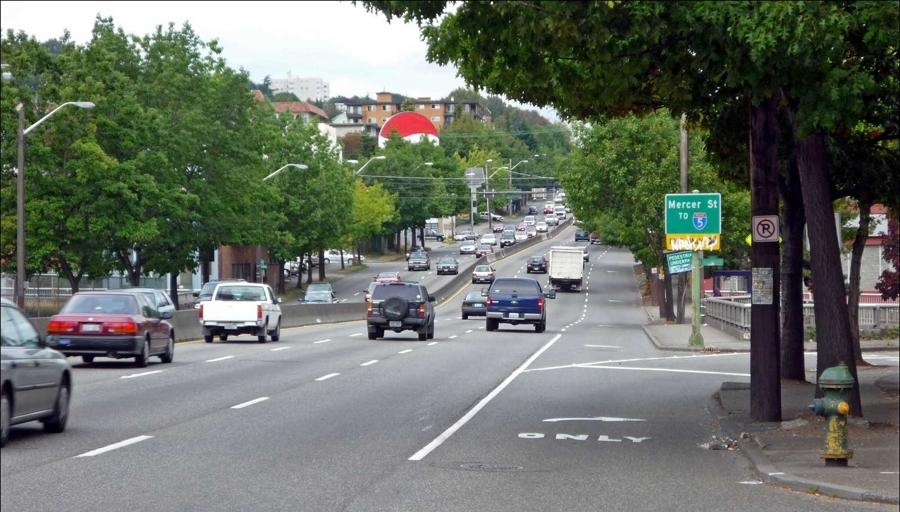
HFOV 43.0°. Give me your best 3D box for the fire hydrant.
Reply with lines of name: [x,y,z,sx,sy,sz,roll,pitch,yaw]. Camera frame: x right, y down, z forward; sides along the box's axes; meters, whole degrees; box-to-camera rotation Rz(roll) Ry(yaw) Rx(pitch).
fire hydrant: [7.516,3.136,22.568,0.779,2.162,0.830,-1,0,10]

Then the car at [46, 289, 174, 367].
car: [-9.755,2.166,33.026,2.580,2.224,5.842,0,-2,-8]

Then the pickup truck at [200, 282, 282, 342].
pickup truck: [-7.970,2.049,43.605,1.841,1.336,3.248,0,3,5]

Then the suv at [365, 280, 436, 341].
suv: [-1.721,2.076,46.672,1.737,1.389,2.985,0,1,9]

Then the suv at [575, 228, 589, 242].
suv: [17.156,-2.731,148.853,1.831,1.466,3.900,0,0,8]

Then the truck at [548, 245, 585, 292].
truck: [9.275,0.955,91.773,2.374,2.187,4.299,0,-2,3]

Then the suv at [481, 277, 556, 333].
suv: [4.431,2.161,50.737,2.730,2.388,6.214,-1,-2,5]
